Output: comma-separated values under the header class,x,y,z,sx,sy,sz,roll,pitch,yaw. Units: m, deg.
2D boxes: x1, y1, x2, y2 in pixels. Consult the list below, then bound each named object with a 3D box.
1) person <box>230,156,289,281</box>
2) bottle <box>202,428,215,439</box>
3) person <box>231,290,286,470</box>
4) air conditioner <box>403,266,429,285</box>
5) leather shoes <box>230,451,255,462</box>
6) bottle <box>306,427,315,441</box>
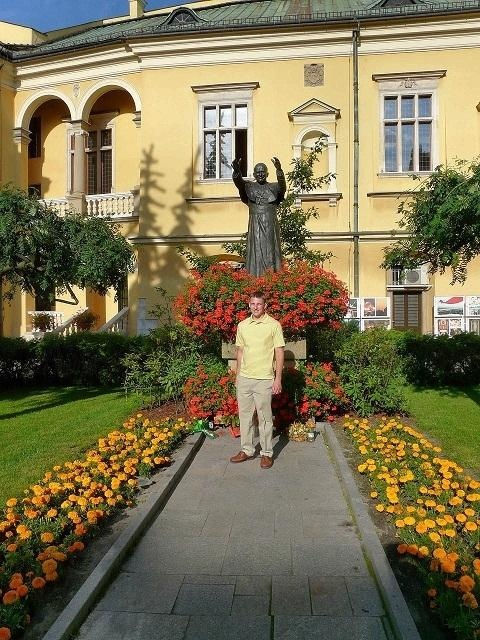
class,x,y,z,sx,sy,sz,roll,pitch,yaw
person,0.298,-1.435,7.481,0.700,1.668,0.591,-3,0,3
bottle,-0.370,1.363,6.409,0.154,0.110,0.351,-3,1,-3
person,0.183,0.583,5.196,0.607,1.685,0.305,-2,0,37
air conditioner,4.617,-1.176,13.803,0.529,0.563,0.300,0,-3,-3
leather shoes,0.020,1.378,5.309,0.090,0.106,0.230,-12,-19,42
bottle,0.837,1.346,6.185,0.078,0.147,0.218,-3,1,9
